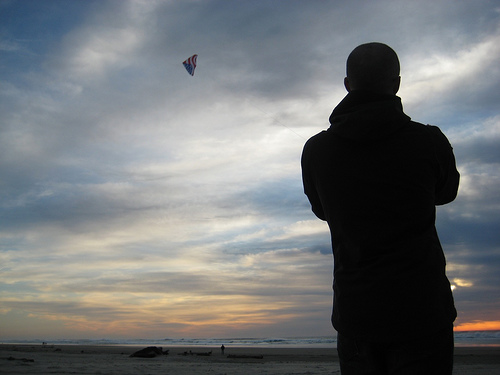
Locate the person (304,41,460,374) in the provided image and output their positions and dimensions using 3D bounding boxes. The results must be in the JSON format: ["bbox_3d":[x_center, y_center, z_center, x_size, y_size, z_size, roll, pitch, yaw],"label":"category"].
[{"bbox_3d":[0.634,0.069,2.728,0.765,1.637,0.298,-5,-15,17],"label":"person"}]
